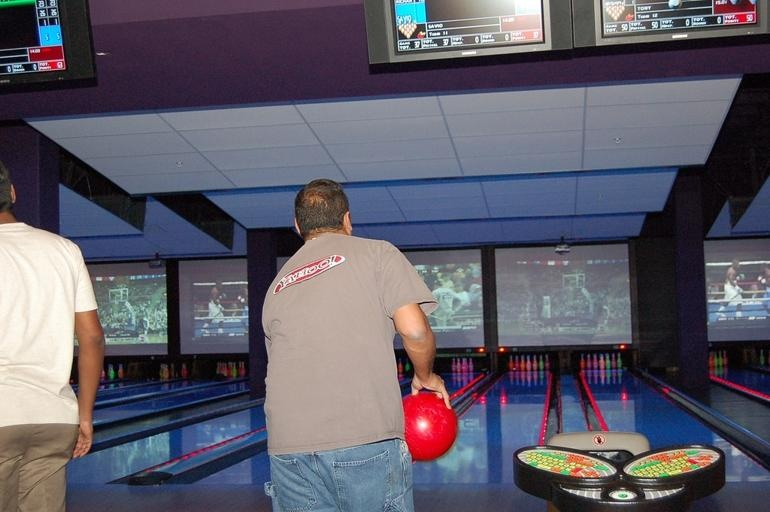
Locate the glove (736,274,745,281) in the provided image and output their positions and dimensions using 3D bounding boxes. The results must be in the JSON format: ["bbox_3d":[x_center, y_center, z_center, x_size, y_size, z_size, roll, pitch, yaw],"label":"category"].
[{"bbox_3d":[6.222,0.368,11.205,0.149,0.122,0.030,-2,-2,-1],"label":"glove"}]

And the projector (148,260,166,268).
[{"bbox_3d":[-4.238,0.137,11.960,0.237,0.145,1.174,-1,-3,-17],"label":"projector"}]
